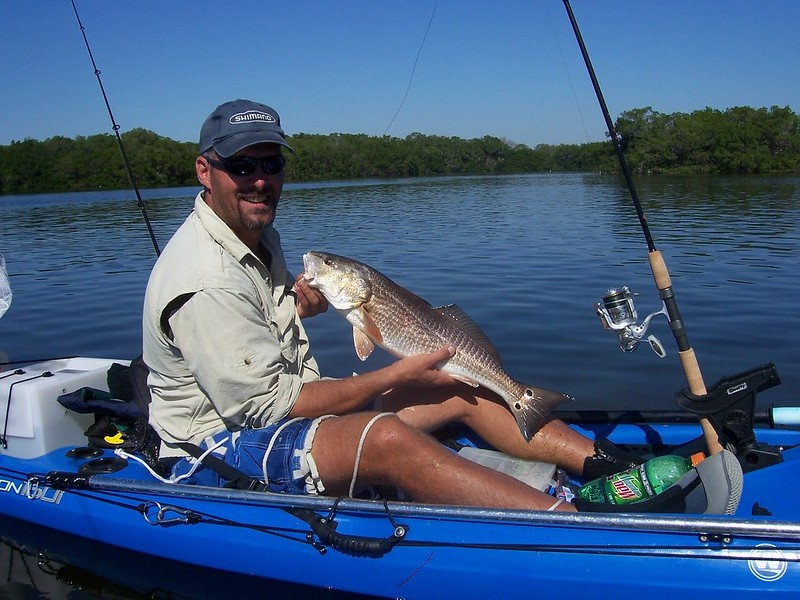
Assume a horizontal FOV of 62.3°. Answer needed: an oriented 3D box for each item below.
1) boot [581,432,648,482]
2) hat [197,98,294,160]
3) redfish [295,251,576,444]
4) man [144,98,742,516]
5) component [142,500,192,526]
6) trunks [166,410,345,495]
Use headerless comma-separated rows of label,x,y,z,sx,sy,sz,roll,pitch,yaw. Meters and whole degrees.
boot,1.153,0.841,3.552,0.303,0.105,0.228,8,22,10
hat,-0.814,-0.910,3.502,0.468,0.282,0.596,-14,16,-36
redfish,0.339,0.340,4.946,2.384,0.867,0.622,30,1,-1
man,0.118,0.275,3.446,2.823,1.379,1.070,6,15,5
component,-1.198,1.108,3.446,0.340,0.100,0.076,4,-4,23
trunks,-0.752,0.751,3.294,0.651,0.210,0.354,2,-30,17
